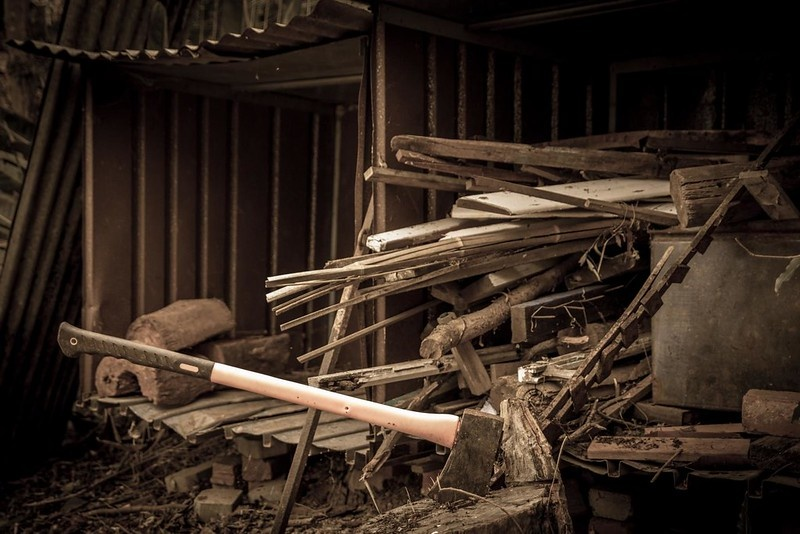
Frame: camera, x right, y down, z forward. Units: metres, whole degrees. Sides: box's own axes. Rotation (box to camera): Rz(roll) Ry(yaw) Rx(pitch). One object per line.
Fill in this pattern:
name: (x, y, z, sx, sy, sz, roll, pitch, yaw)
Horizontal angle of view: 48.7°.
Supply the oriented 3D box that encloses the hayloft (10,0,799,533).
hayloft: (0.476, -1.123, 11.466, 7.603, 4.999, 7.860, 0, 0, 41)
